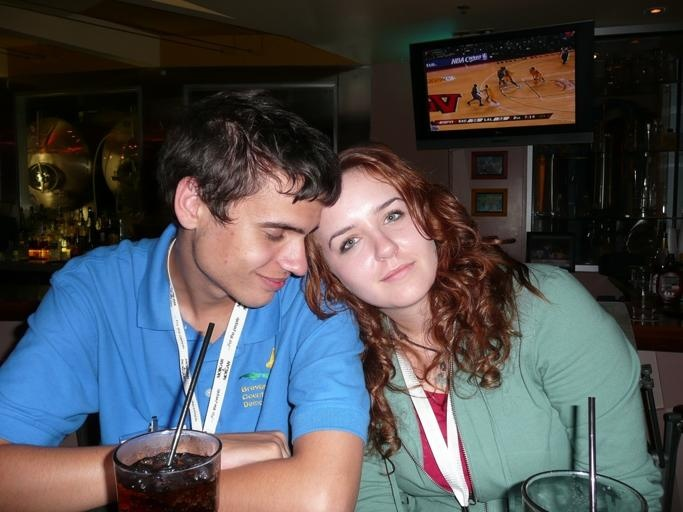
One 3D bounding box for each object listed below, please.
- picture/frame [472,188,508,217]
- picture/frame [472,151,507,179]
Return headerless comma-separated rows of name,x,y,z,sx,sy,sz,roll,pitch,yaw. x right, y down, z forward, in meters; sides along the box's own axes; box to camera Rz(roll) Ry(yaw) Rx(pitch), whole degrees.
picture/frame,1.592,-0.577,6.193,0.394,0.316,0.032,1,6,14
picture/frame,1.587,-0.968,6.174,0.312,0.252,0.024,1,4,13
